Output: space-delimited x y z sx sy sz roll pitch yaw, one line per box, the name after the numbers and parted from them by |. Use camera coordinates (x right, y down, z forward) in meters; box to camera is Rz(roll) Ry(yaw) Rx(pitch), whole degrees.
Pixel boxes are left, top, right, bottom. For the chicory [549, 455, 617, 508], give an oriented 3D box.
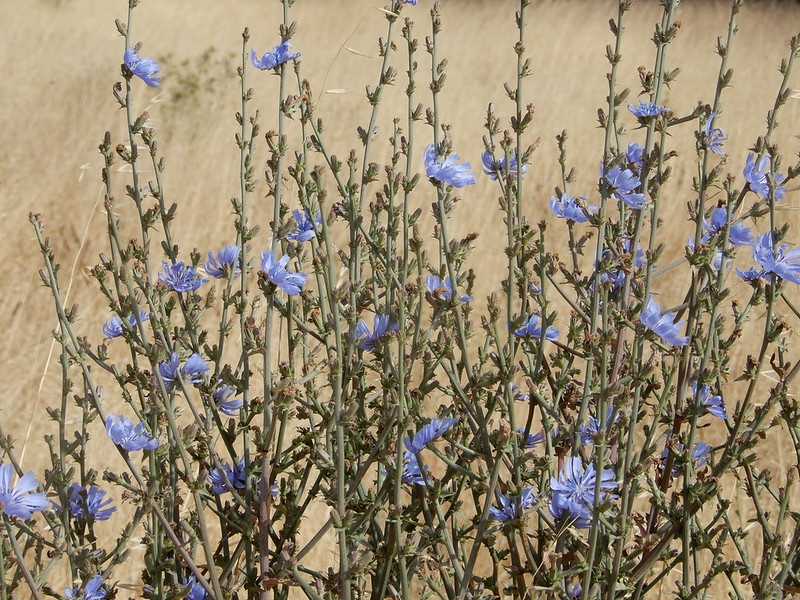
1.495 1.421 12.422 0.538 0.298 0.410 6 27 10 | chicory

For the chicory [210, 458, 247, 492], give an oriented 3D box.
-1.382 1.457 12.570 0.227 0.151 0.262 -6 30 23 | chicory
